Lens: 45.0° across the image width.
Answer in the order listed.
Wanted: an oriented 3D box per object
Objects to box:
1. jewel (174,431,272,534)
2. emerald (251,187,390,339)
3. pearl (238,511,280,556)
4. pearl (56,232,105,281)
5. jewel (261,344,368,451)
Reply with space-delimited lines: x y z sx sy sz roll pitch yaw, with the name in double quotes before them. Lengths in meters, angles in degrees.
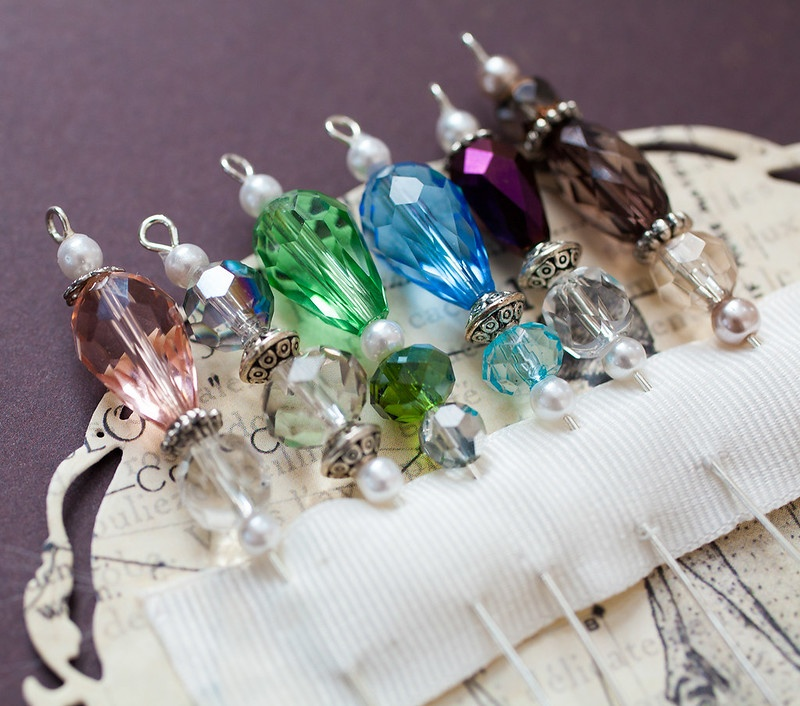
"jewel" -0.250 0.180 1.363 0.102 0.140 0.046 -22 -9 -14
"emerald" -0.125 -0.129 1.585 0.170 0.244 0.121 -40 -4 -7
"pearl" -0.194 0.246 1.330 0.043 0.060 0.059 0 -6 -8
"pearl" -0.496 -0.148 1.491 0.059 0.077 0.080 2 13 17
"jewel" -0.127 0.063 1.473 0.141 0.136 0.066 -50 19 0
